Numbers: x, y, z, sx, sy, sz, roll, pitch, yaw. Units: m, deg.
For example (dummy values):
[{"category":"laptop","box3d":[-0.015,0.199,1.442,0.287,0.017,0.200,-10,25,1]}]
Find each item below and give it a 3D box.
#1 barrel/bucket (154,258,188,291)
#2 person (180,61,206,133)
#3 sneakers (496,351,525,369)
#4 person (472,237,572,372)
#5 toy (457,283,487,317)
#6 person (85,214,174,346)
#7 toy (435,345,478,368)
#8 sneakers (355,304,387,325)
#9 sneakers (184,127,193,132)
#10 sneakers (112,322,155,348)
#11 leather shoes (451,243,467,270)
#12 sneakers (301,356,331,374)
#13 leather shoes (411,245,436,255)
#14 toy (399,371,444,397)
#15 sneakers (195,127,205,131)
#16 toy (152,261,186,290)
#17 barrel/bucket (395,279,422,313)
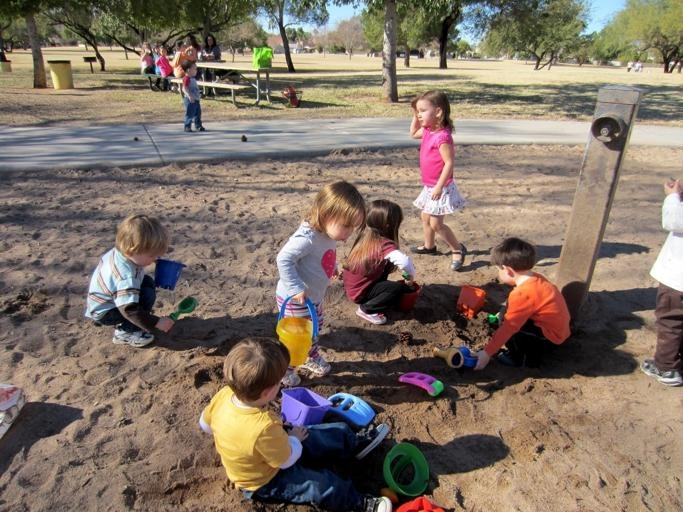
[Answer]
[{"category":"barrel/bucket","box3d":[-1.448,0.173,4.843,0.291,0.263,0.100,18,13,9]},{"category":"person","box3d":[-3.009,-3.158,11.355,0.413,1.339,0.800,-6,24,-12]},{"category":"sneakers","box3d":[1.406,0.867,4.723,0.129,0.049,0.162,4,2,-41]},{"category":"person","box3d":[1.532,0.461,4.820,0.826,1.046,0.765,8,33,41]},{"category":"toy","box3d":[1.207,0.408,5.293,0.251,0.288,0.305,22,18,34]},{"category":"person","box3d":[-1.745,0.250,4.696,0.752,0.961,0.811,-2,38,-29]},{"category":"toy","box3d":[0.928,0.801,4.609,0.178,0.078,0.237,-5,9,-32]},{"category":"sneakers","box3d":[0.266,0.550,5.173,0.277,0.111,0.114,20,41,16]},{"category":"sneakers","box3d":[-3.101,-2.531,11.458,0.157,0.073,0.143,-6,7,-23]},{"category":"sneakers","box3d":[-1.678,0.638,4.636,0.360,0.213,0.145,0,21,-9]},{"category":"leather shoes","box3d":[1.251,0.019,5.966,0.116,0.094,0.307,-5,44,42]},{"category":"sneakers","box3d":[-0.179,0.852,4.488,0.256,0.105,0.112,6,24,11]},{"category":"leather shoes","box3d":[0.904,-0.052,6.281,0.268,0.093,0.098,4,16,-2]},{"category":"toy","box3d":[0.605,0.953,4.306,0.320,0.079,0.147,11,22,34]},{"category":"sneakers","box3d":[-2.880,-2.594,11.659,0.066,0.075,0.183,7,31,22]},{"category":"toy","box3d":[-1.449,0.152,4.800,0.270,0.243,0.084,16,13,11]},{"category":"barrel/bucket","box3d":[0.575,0.373,5.235,0.277,0.240,0.253,1,14,0]}]
